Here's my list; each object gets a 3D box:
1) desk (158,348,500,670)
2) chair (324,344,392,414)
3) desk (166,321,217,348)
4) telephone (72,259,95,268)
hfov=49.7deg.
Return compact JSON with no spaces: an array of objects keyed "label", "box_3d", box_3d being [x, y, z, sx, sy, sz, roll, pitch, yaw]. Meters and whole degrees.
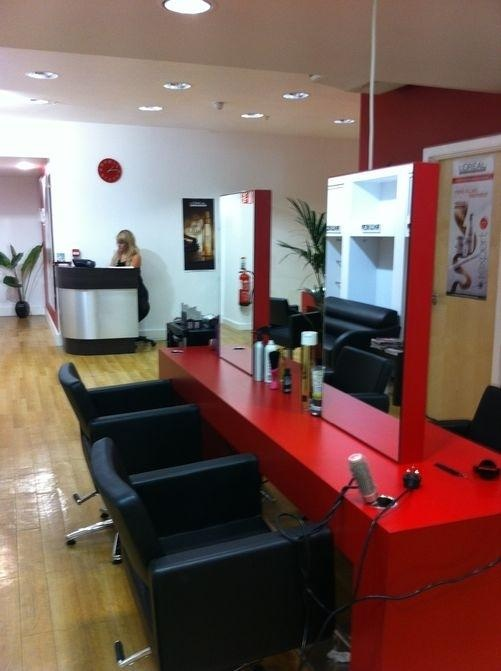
[{"label":"desk","box_3d":[0.309,0.534,1.830,0.509,0.498,1.304,-5,10,-18]},{"label":"chair","box_3d":[0.355,0.127,1.755,0.164,0.282,0.204,-4,22,-17]},{"label":"desk","box_3d":[-0.519,-0.014,4.650,0.279,0.340,0.512,-4,11,-20]},{"label":"telephone","box_3d":[-2.064,-0.891,6.668,0.243,0.098,0.396,-5,10,-18]}]
